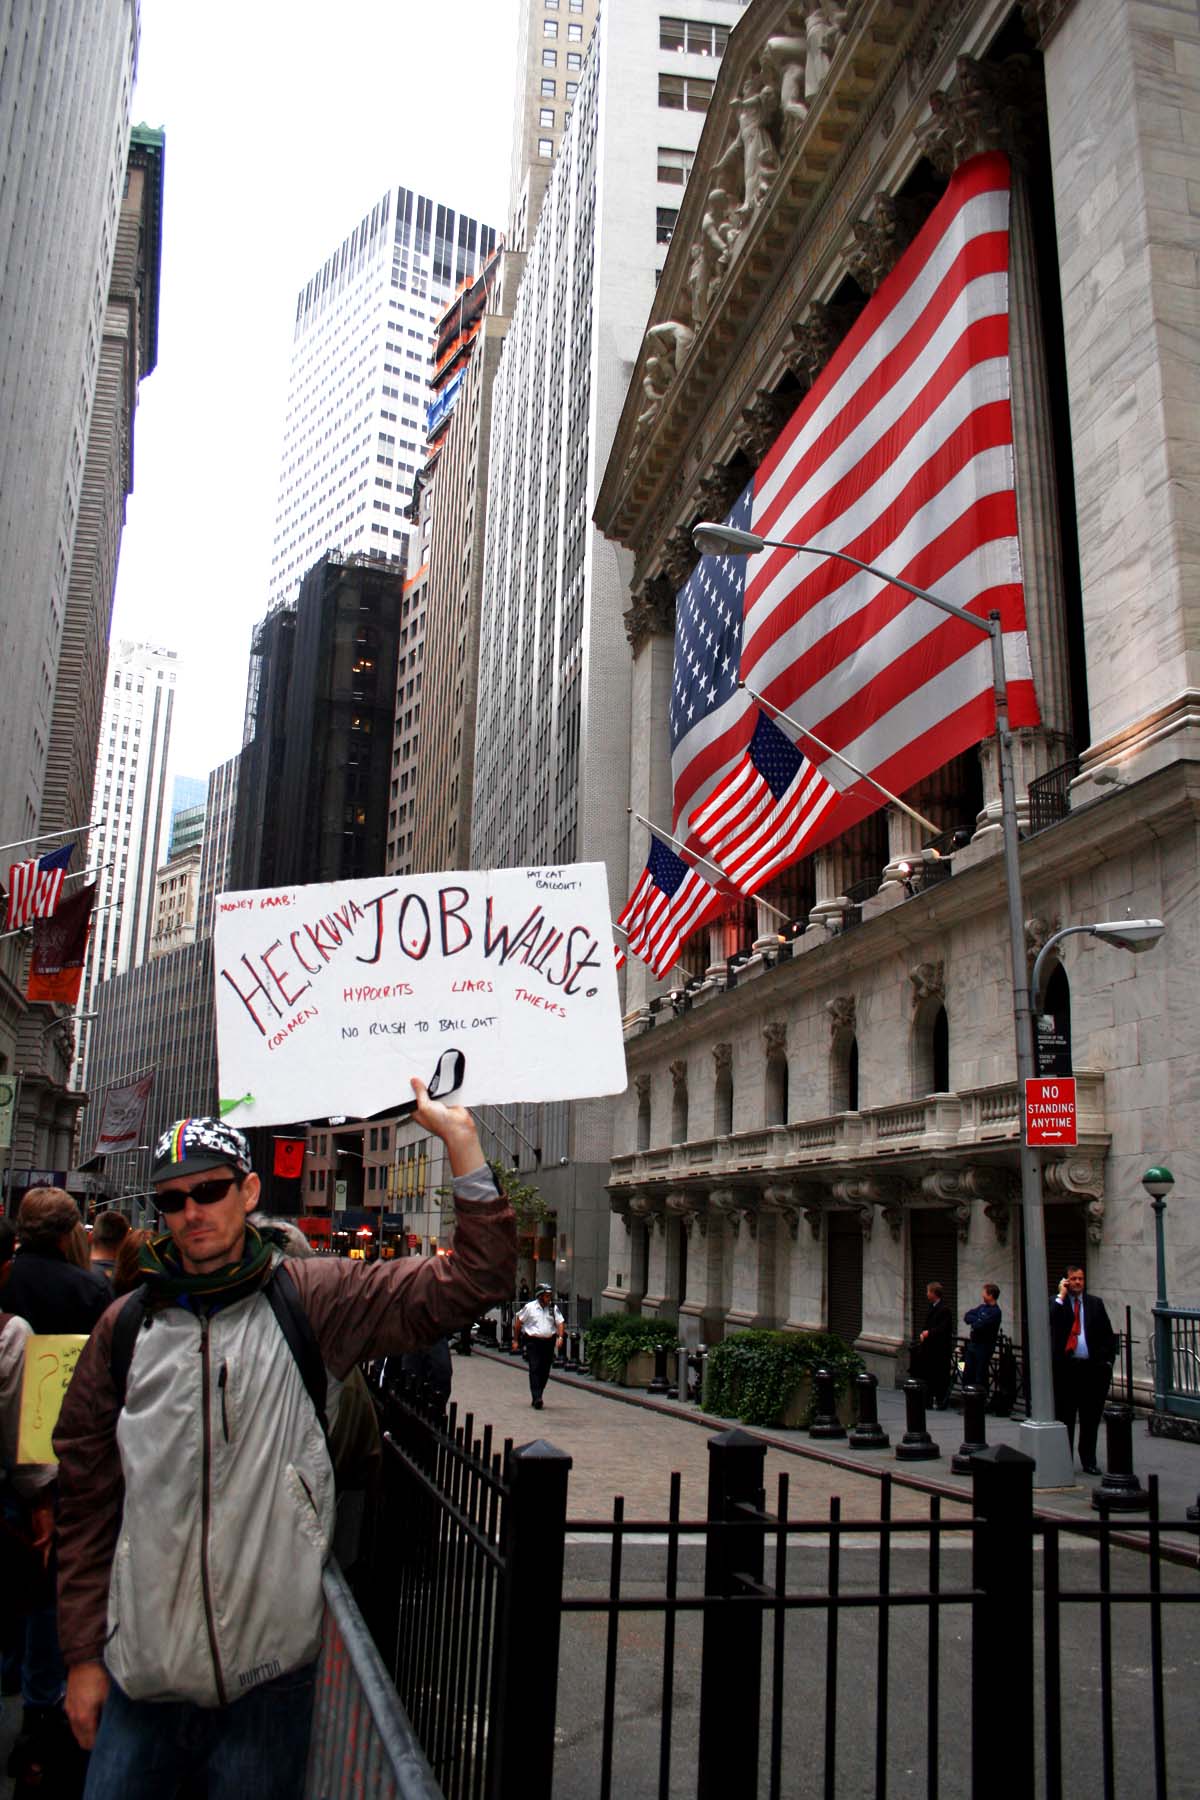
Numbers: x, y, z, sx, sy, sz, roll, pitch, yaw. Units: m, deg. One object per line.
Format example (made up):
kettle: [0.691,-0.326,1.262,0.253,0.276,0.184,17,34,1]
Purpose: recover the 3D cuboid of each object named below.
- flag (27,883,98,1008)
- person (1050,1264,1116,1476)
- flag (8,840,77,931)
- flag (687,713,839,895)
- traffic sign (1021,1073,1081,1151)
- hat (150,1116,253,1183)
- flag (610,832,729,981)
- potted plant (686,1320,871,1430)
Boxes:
flag: [-14.768,1.239,40.765,1.459,3.691,0.251,2,27,-30]
person: [5.178,5.065,16.103,0.630,2.070,1.305,-3,-13,17]
flag: [-15.656,-0.401,41.773,0.385,2.942,3.405,20,-17,-28]
flag: [3.254,-2.176,26.731,3.725,3.706,0.259,-10,22,-43]
traffic sign: [4.863,2.324,16.283,0.562,0.830,1.022,-2,-13,16]
hat: [-0.886,0.561,3.348,0.146,0.113,0.211,-12,-25,-3]
flag: [1.736,0.300,35.197,0.433,3.531,4.042,22,22,-29]
potted plant: [2.477,6.743,21.506,1.403,0.965,2.022,6,-15,-18]
